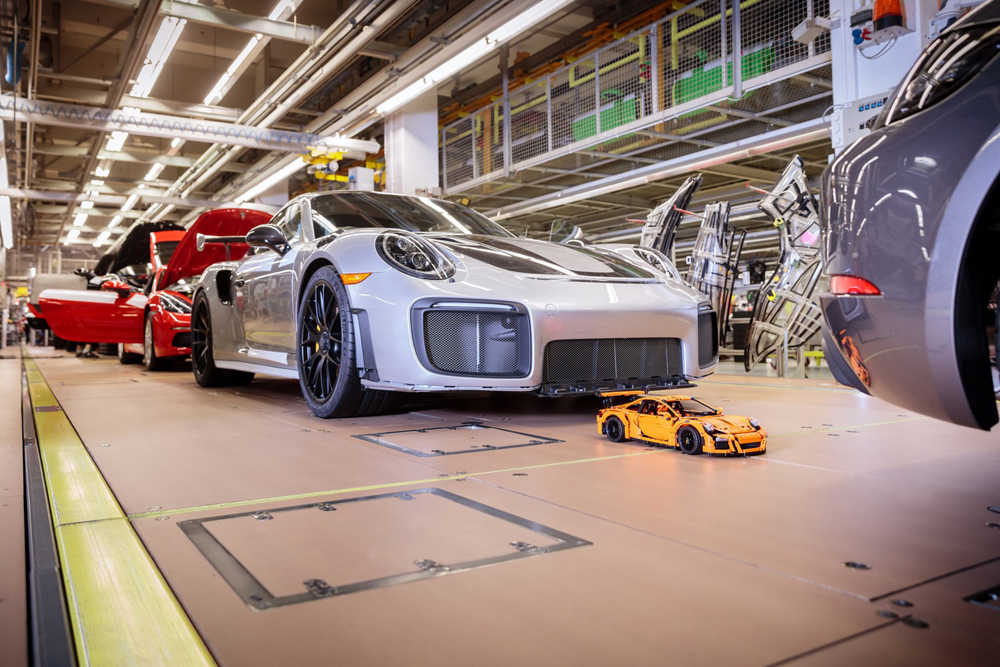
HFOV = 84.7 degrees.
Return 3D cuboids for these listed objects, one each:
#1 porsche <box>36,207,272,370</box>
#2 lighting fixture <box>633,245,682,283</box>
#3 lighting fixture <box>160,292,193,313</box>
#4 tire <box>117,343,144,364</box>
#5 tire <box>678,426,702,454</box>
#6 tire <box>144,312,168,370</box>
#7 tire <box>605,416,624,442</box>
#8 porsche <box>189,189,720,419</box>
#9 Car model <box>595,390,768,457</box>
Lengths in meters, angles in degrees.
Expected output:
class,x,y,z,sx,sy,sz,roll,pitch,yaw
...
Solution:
class,x,y,z,sx,sy,sz,roll,pitch,yaw
porsche,-4.338,-0.588,7.370,3.238,1.559,4.078,2,-2,-43
lighting fixture,1.103,-0.510,3.842,0.160,0.142,0.612,19,-4,-17
lighting fixture,-3.861,-0.375,6.554,0.432,0.092,0.260,10,-2,1
tire,-5.609,0.286,8.416,0.168,0.354,0.419,0,-1,-39
tire,0.843,0.470,2.436,0.052,0.131,0.152,4,-4,-31
tire,-4.221,0.067,6.789,0.247,0.591,0.671,7,-21,-26
tire,0.569,0.470,2.717,0.059,0.124,0.145,0,-2,-32
porsche,-0.846,-0.467,4.839,2.657,1.214,4.753,-4,7,-38
Car model,0.824,0.422,2.606,0.254,0.230,0.742,2,-2,-43
